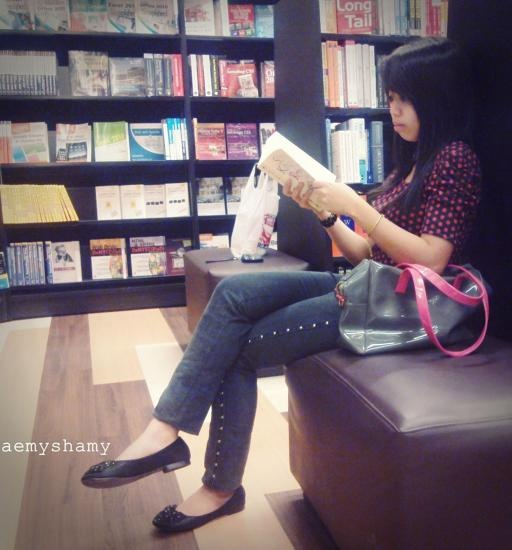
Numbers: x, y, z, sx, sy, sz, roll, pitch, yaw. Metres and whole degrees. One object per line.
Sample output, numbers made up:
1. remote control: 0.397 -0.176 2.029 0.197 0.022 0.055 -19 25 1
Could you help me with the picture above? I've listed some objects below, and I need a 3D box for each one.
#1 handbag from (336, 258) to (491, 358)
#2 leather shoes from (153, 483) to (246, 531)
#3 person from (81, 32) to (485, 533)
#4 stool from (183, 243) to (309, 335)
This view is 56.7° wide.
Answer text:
1. handbag: 0.312 0.034 0.919 0.204 0.162 0.201 3 4 -12
2. leather shoes: -0.122 0.510 1.108 0.220 0.103 0.080 -6 4 -24
3. person: 0.220 0.006 1.693 1.208 1.891 0.612 1 0 -9
4. stool: -0.059 0.001 2.125 0.408 0.394 0.429 -3 10 -17
